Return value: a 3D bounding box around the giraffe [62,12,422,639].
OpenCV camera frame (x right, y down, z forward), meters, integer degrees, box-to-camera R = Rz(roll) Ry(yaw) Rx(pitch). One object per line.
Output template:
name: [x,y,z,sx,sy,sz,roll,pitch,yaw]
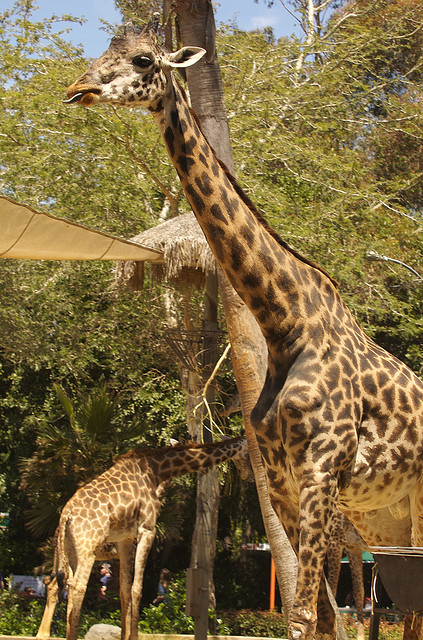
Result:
giraffe: [0.464,0.038,4.552,1.478,3.047,1.530,11,12,34]
